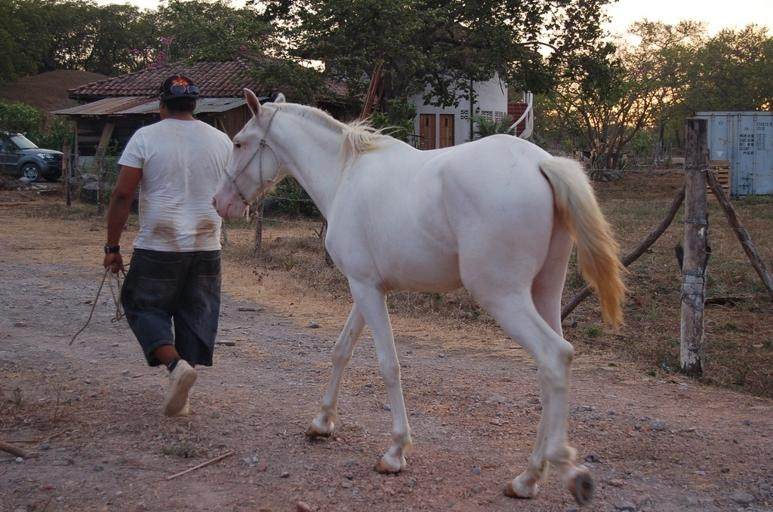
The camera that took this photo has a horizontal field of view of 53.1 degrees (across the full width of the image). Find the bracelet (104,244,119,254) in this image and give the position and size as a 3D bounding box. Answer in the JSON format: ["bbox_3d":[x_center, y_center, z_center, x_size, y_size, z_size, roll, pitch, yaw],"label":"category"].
[{"bbox_3d":[-3.140,-0.073,8.807,0.114,0.147,0.080,4,24,-40],"label":"bracelet"}]
